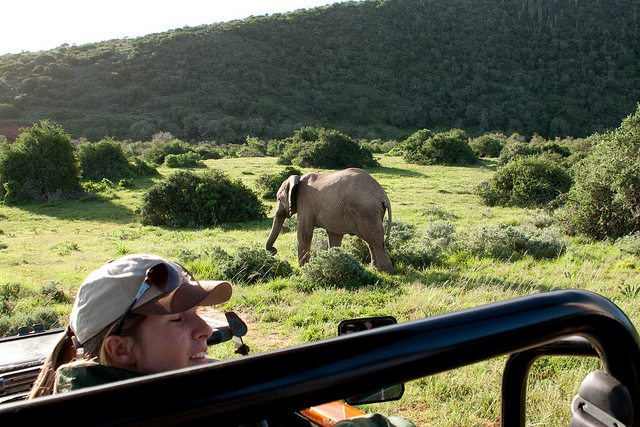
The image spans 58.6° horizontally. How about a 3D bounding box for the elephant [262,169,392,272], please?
[{"bbox_3d":[0.199,0.199,15.278,4.450,2.642,1.678,2,5,38],"label":"elephant"}]
